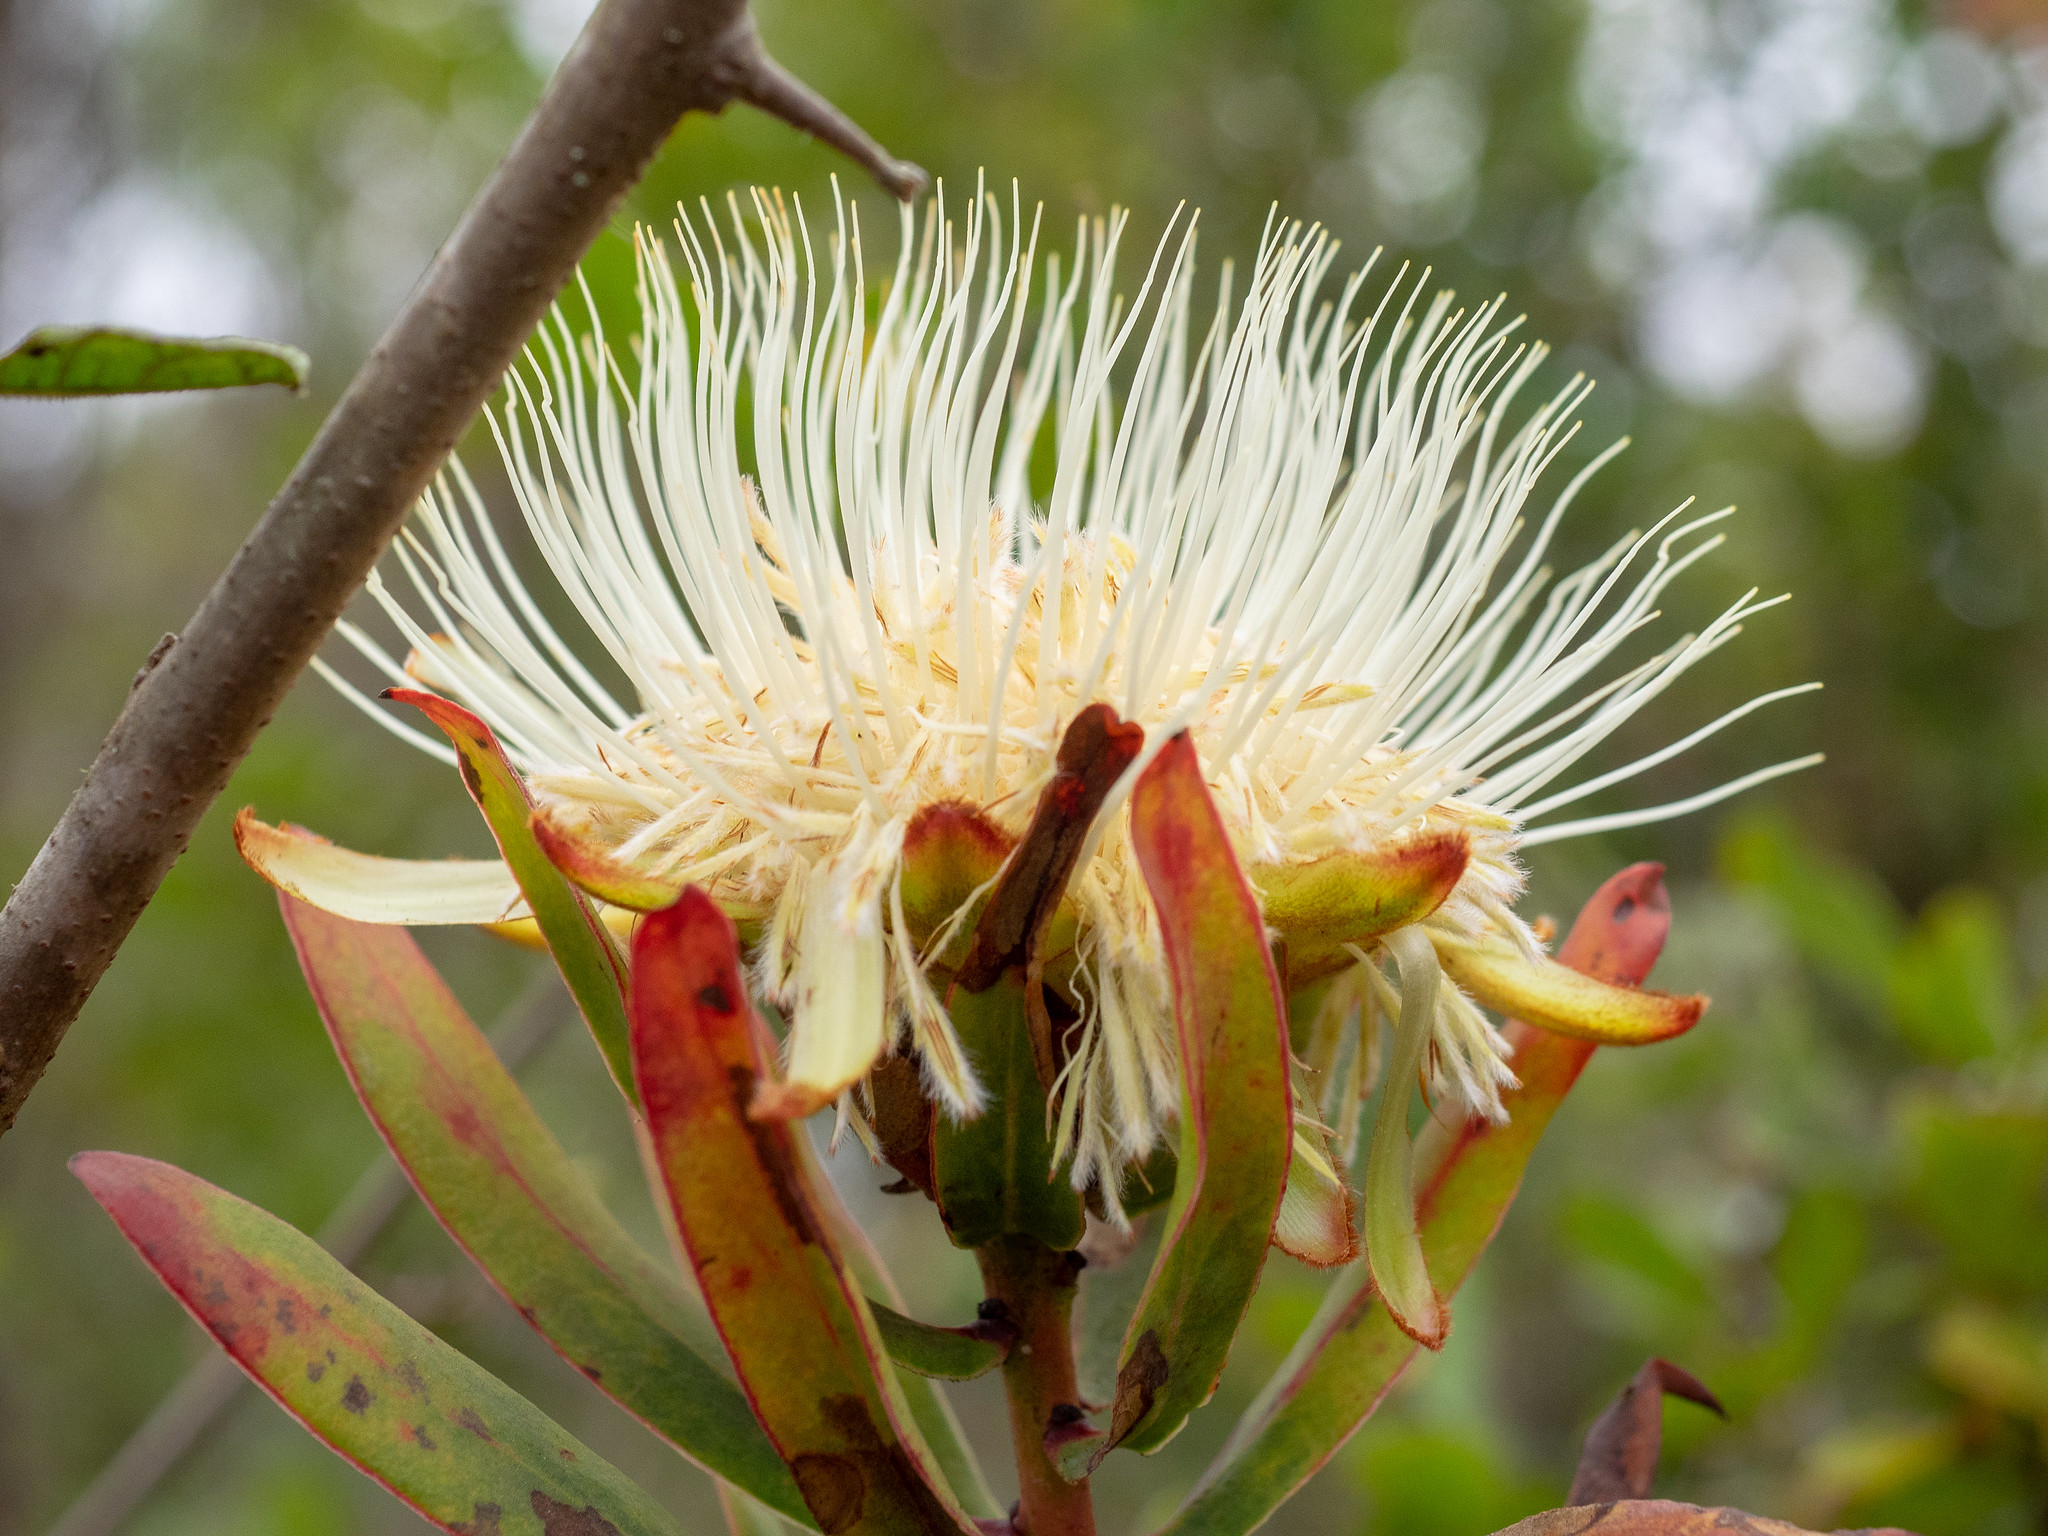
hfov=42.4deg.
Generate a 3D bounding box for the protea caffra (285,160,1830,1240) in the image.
[{"bbox_3d":[-0.055,-0.318,2.942,1.143,0.950,1.283,0,32,-19],"label":"protea caffra"}]
